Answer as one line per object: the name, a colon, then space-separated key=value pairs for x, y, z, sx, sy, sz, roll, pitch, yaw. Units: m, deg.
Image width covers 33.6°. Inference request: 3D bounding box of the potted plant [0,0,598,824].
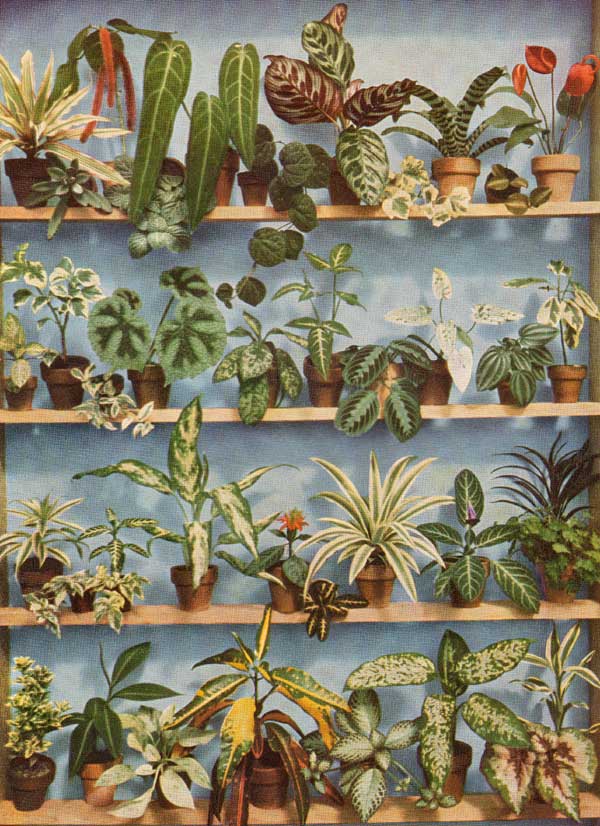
potted plant: x=-0.042 y=-0.022 z=2.375 sx=2.072 sy=1.745 sz=0.621 roll=1 pitch=-5 yaw=-2
